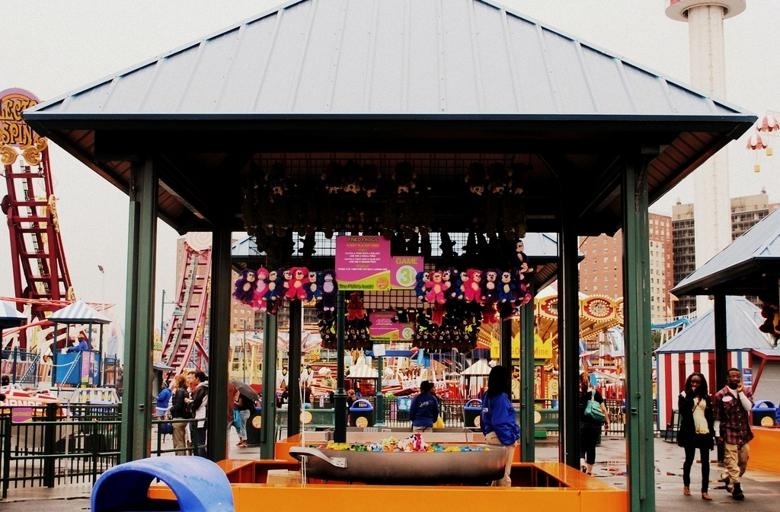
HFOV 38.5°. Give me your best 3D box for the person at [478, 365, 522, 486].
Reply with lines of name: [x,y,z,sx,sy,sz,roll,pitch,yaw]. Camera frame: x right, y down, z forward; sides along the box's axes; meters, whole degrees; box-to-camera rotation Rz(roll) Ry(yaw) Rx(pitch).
person: [2.421,3.592,23.828,0.686,2.549,1.073,3,-11,-13]

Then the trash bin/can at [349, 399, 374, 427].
trash bin/can: [-0.990,5.507,39.119,0.766,1.235,0.836,-1,-5,4]

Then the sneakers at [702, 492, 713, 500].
sneakers: [7.498,5.677,26.400,0.210,0.195,0.444,-2,-12,16]

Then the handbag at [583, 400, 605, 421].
handbag: [5.560,4.208,30.412,0.478,0.545,0.258,0,-20,-1]

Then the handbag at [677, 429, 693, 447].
handbag: [7.136,4.412,27.070,0.373,0.467,0.373,5,-9,-34]

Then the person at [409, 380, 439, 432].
person: [0.952,4.216,31.252,0.768,1.385,1.452,1,-11,0]

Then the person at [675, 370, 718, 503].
person: [7.453,4.342,27.228,0.876,3.114,1.441,-2,-11,15]

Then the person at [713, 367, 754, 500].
person: [8.309,4.297,26.877,0.835,3.094,0.969,-5,-12,29]

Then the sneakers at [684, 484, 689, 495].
sneakers: [7.158,5.667,26.879,0.081,0.191,0.253,1,-22,-2]

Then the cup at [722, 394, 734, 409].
cup: [8.138,3.500,26.833,0.167,0.333,0.306,-1,-2,-36]
